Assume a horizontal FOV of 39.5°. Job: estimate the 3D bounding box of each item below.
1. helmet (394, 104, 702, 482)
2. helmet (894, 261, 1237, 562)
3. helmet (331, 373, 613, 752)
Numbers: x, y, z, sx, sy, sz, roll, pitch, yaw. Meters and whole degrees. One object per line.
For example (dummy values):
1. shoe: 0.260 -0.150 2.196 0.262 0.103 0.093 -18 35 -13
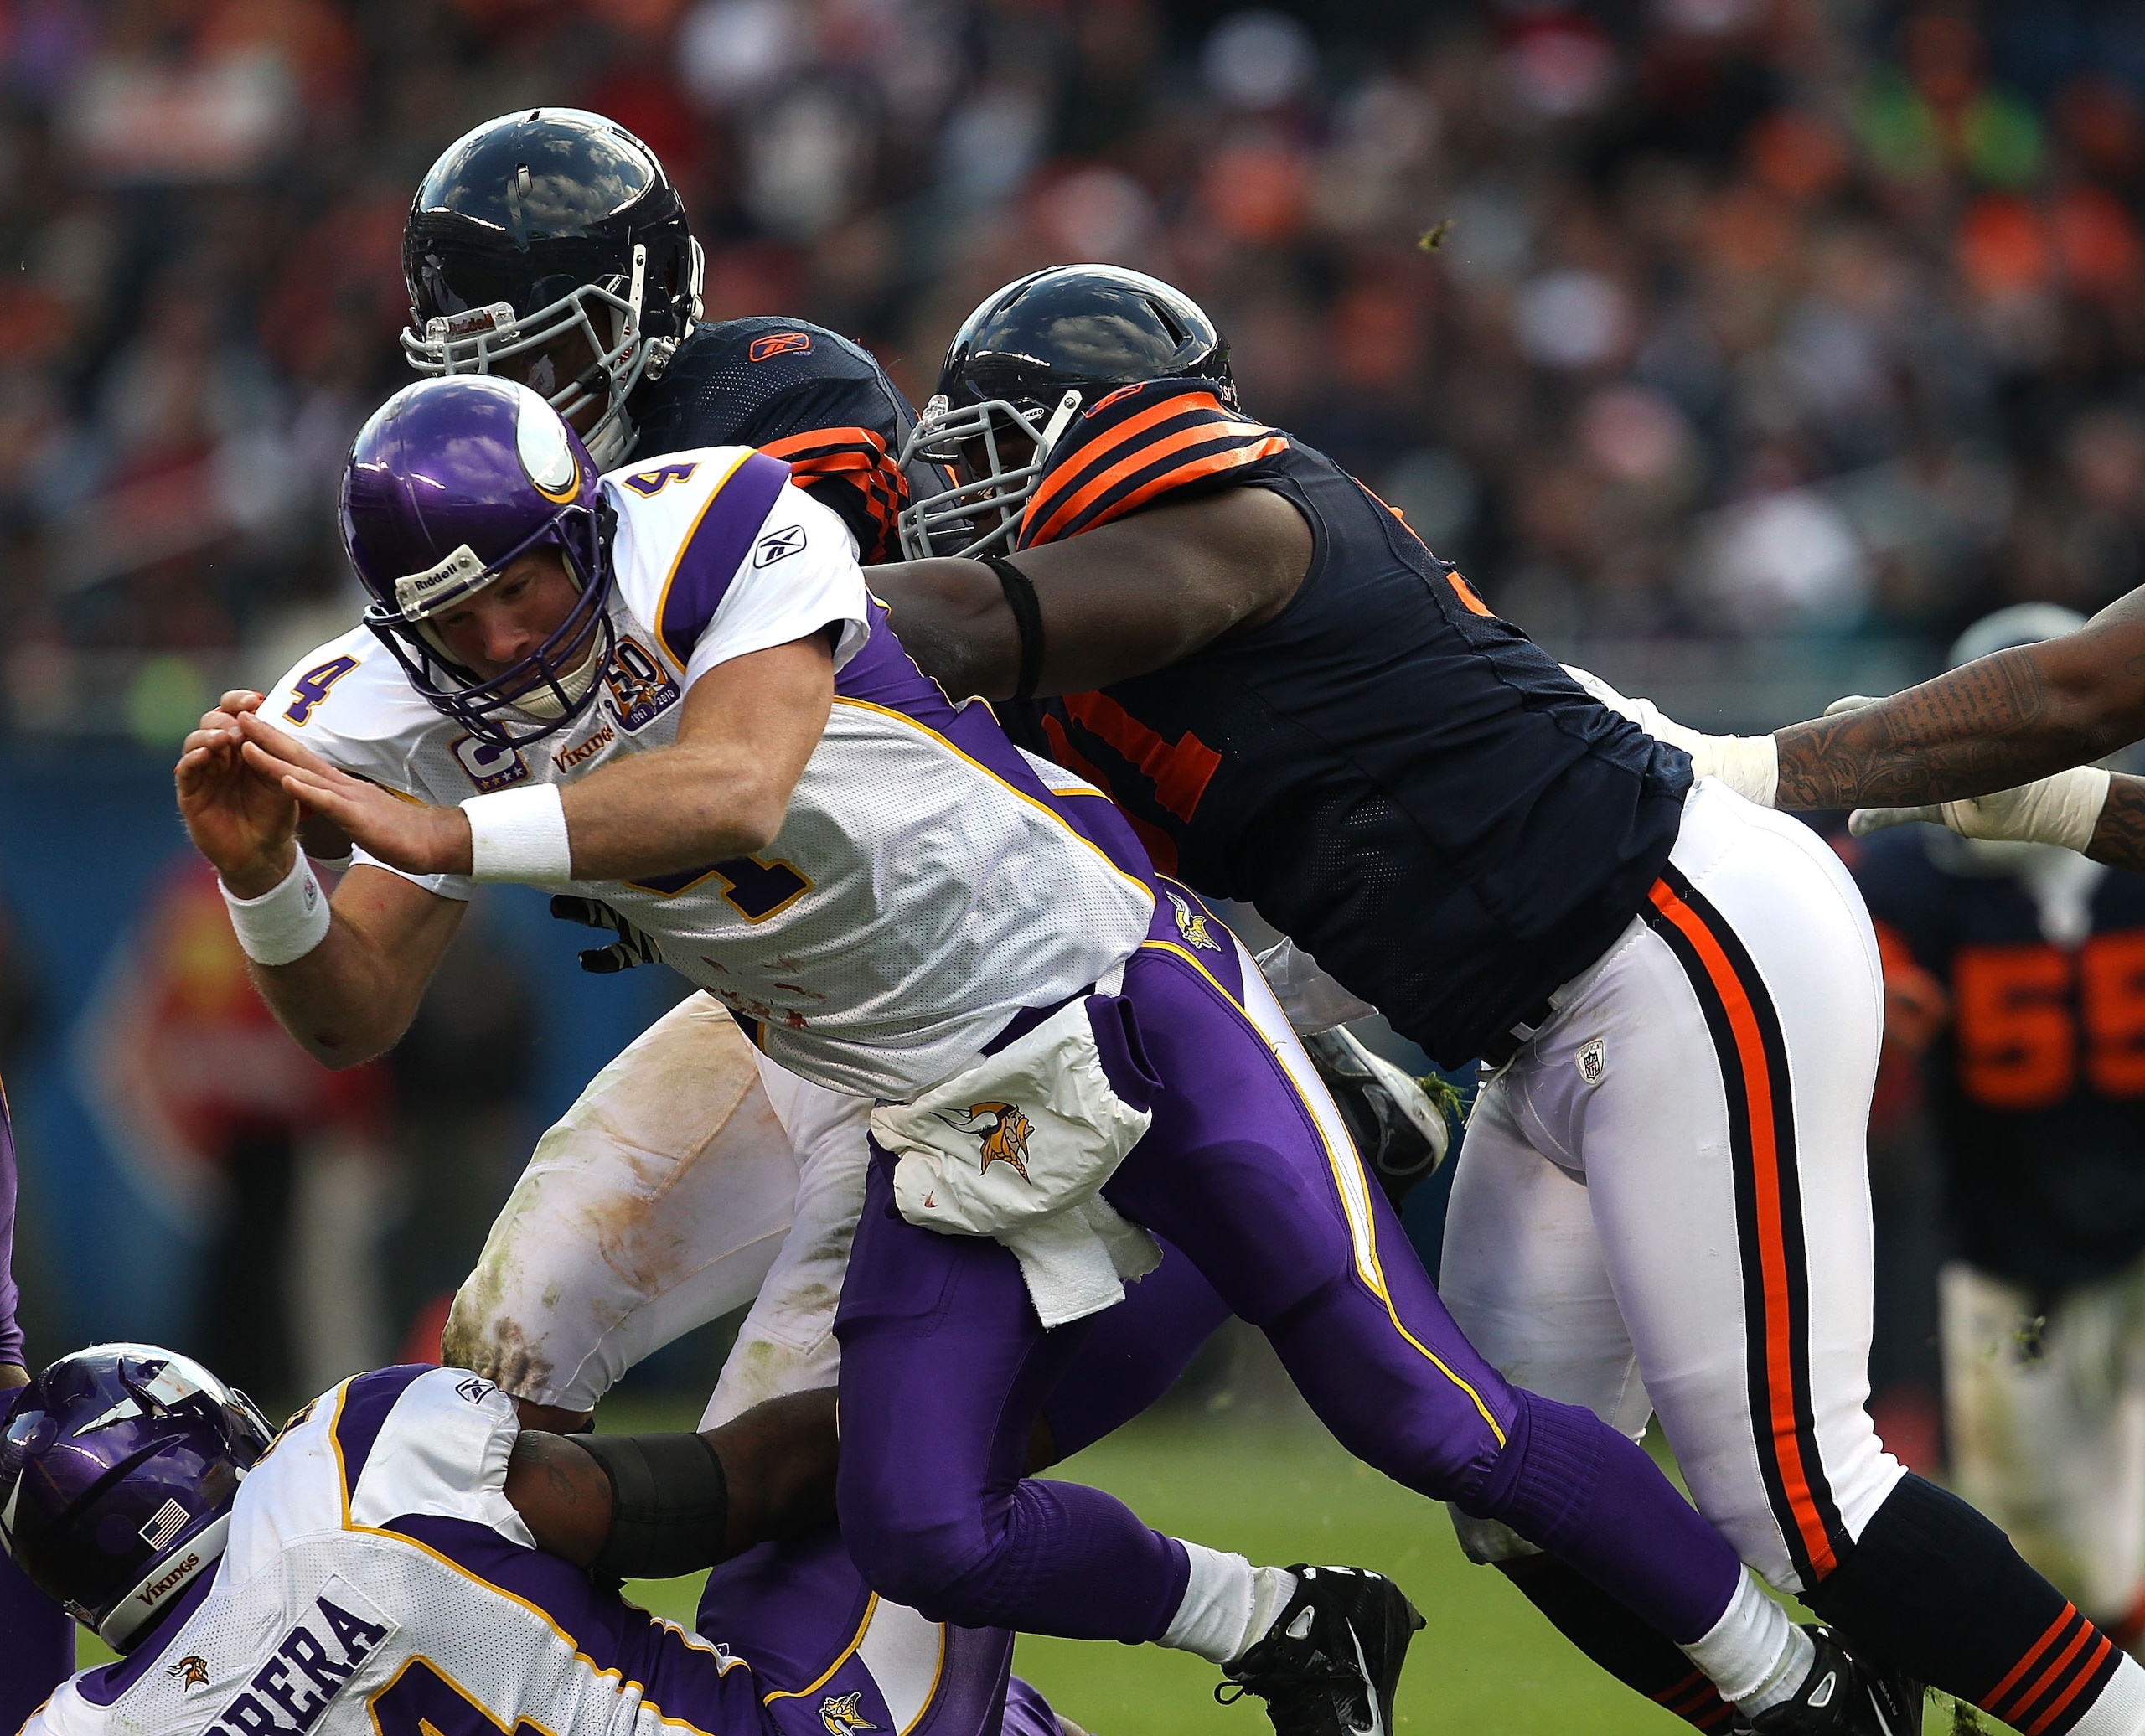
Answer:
1. helmet: -0.767 -0.858 4.390 0.394 0.506 0.508 7 30 28
2. helmet: -0.016 -0.604 4.087 0.442 0.431 0.359 -12 8 -42
3. helmet: -0.685 -0.362 3.501 0.307 0.421 0.229 -11 12 -13
